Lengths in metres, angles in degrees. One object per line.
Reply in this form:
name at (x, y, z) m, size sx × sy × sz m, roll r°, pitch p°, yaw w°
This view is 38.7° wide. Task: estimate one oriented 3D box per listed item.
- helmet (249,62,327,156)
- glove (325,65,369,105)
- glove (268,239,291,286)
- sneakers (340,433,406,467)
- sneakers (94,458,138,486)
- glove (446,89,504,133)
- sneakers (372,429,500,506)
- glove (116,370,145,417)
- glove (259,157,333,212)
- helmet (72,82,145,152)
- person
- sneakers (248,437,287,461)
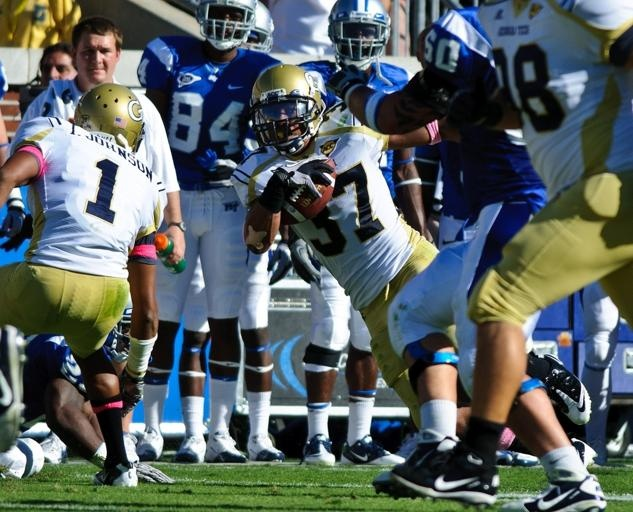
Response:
helmet at (-0.119, -0.558, 3.415) m, size 0.254 × 0.300 × 0.343 m, roll -5°, pitch 10°, yaw 12°
glove at (0.102, -0.590, 3.083) m, size 0.131 × 0.122 × 0.167 m, roll 5°, pitch -1°, yaw 0°
glove at (-0.157, 0.048, 4.573) m, size 0.065 × 0.237 × 0.115 m, roll 23°, pitch -23°, yaw -26°
sneakers at (0.271, 0.943, 4.366) m, size 0.338 × 0.164 × 0.118 m, roll 1°, pitch -6°, yaw 6°
sneakers at (-0.712, 0.761, 3.197) m, size 0.173 × 0.081 × 0.066 m, roll 1°, pitch 0°, yaw 38°
glove at (0.487, -0.450, 2.753) m, size 0.106 × 0.071 × 0.153 m, roll 6°, pitch 11°, yaw -30°
sneakers at (0.350, 0.630, 2.665) m, size 0.335 × 0.182 × 0.119 m, roll 0°, pitch -17°, yaw 36°
glove at (-0.789, 0.564, 3.865) m, size 0.137 × 0.198 × 0.092 m, roll 13°, pitch 14°, yaw 19°
glove at (-0.083, -0.233, 3.141) m, size 0.222 × 0.173 × 0.116 m, roll 3°, pitch -46°, yaw 47°
helmet at (-0.789, -0.522, 3.540) m, size 0.271 × 0.259 × 0.208 m, roll 27°, pitch -3°, yaw -23°
person at (0.302, -0.103, 2.910) m, size 1.405 × 1.303 × 0.626 m, roll 4°, pitch -1°, yaw 29°
sneakers at (-0.242, 0.976, 4.567) m, size 0.093 × 0.105 × 0.184 m, roll 5°, pitch -14°, yaw -34°
